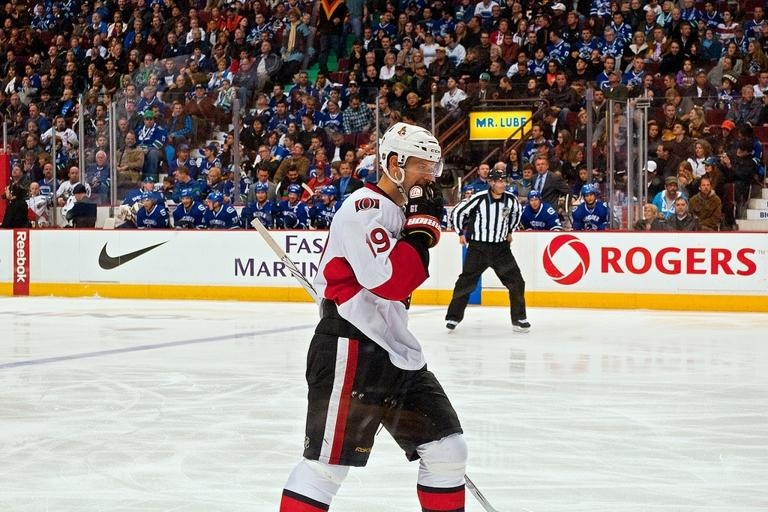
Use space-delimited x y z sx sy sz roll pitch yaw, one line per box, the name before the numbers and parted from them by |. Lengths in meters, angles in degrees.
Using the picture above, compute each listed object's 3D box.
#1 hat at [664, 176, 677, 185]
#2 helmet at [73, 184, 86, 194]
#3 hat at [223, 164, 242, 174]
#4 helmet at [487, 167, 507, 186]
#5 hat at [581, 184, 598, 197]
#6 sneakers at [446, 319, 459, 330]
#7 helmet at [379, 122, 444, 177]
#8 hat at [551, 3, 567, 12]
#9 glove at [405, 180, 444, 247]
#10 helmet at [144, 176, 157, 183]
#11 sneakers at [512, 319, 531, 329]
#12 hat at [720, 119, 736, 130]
hat | 3.840 -1.020 14.145 0.155 0.121 0.092 0 -1 14
helmet | -4.924 -1.107 17.158 0.181 0.163 0.135 -3 4 -22
hat | -2.332 -1.366 16.476 0.311 0.150 0.100 0 -1 -10
helmet | 1.356 -0.957 12.621 0.206 0.183 0.153 -15 9 12
hat | 2.823 -0.923 14.647 0.162 0.180 0.193 -4 -41 -15
sneakers | 0.829 0.825 12.787 0.116 0.104 0.136 21 -19 16
helmet | 0.177 -0.708 7.033 0.425 0.384 0.315 4 8 -1
hat | 2.974 -4.264 17.975 0.179 0.119 0.258 6 9 37
glove | 0.265 -0.281 7.000 0.248 0.432 0.205 0 -1 3
helmet | -3.712 -1.223 16.792 0.107 0.101 0.137 4 10 -9
sneakers | 1.653 0.816 12.698 0.193 0.125 0.101 -4 -2 31
hat | 4.665 -1.806 14.352 0.127 0.090 0.181 14 -9 39
